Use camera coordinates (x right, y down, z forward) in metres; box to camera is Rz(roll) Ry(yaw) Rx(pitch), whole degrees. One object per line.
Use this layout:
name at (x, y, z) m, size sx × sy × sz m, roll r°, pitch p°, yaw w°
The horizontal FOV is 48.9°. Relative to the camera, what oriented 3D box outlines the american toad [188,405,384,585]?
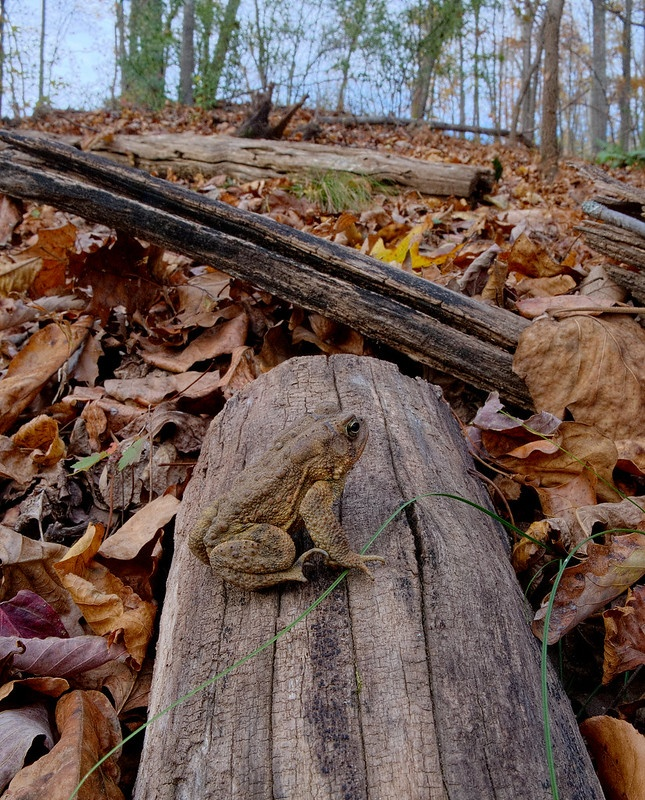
american toad at (-0.113, 0.241, 2.018) m, size 0.556 × 0.388 × 0.525 m, roll -19°, pitch 22°, yaw -34°
